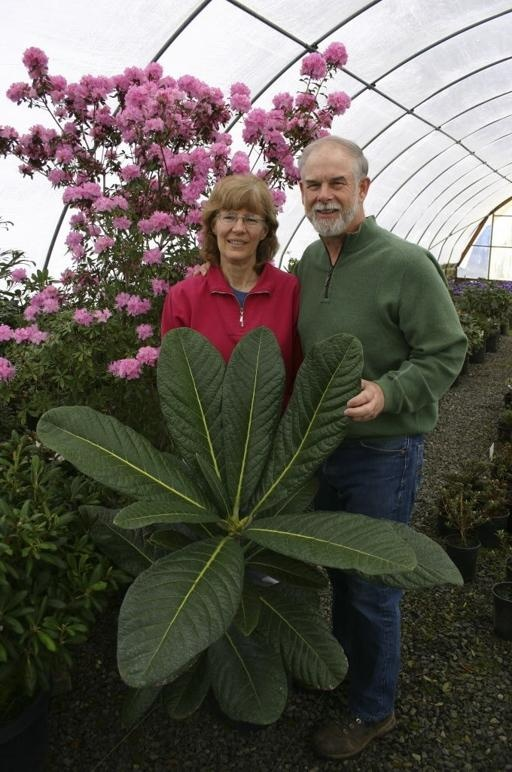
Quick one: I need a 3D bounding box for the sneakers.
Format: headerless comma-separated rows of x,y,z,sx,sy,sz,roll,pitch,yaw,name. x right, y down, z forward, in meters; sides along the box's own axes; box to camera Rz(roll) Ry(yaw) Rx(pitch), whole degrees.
0.320,1.156,1.945,0.265,0.122,0.109,-6,51,-16,sneakers

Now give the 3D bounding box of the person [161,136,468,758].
0.409,0.257,1.837,0.536,2.057,0.736,-4,17,15,person
